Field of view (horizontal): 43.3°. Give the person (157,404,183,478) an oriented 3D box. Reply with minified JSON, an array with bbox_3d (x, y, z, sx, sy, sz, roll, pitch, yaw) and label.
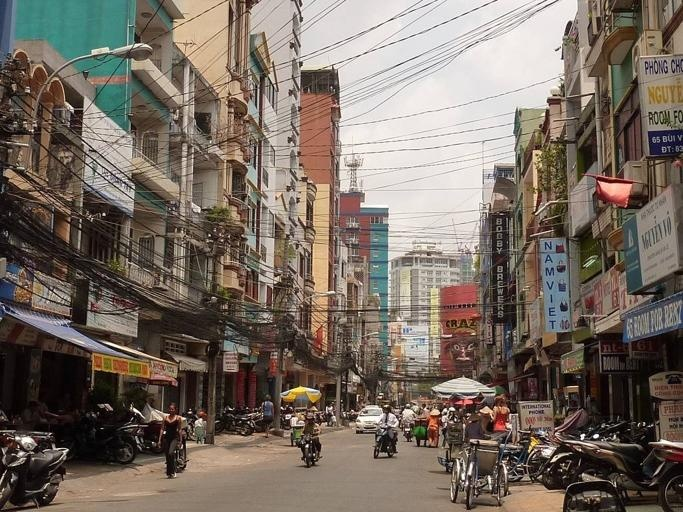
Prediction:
[{"bbox_3d":[-4.896,5.257,24.747,0.561,2.245,1.560,1,-18,-11],"label":"person"}]

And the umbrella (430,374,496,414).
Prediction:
[{"bbox_3d":[4.972,5.626,35.981,2.668,1.868,2.324,-5,-8,16],"label":"umbrella"}]

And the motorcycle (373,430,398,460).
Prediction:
[{"bbox_3d":[1.579,6.820,31.335,0.814,1.050,1.370,-4,-18,6],"label":"motorcycle"}]

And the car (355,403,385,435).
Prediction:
[{"bbox_3d":[1.799,10.481,55.789,1.927,1.874,4.726,-1,-11,1],"label":"car"}]

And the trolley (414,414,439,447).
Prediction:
[{"bbox_3d":[4.042,8.109,40.164,1.162,1.372,1.796,1,-8,7],"label":"trolley"}]

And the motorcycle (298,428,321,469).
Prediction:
[{"bbox_3d":[-1.012,6.154,27.802,0.625,1.368,1.510,-1,-18,-2],"label":"motorcycle"}]
